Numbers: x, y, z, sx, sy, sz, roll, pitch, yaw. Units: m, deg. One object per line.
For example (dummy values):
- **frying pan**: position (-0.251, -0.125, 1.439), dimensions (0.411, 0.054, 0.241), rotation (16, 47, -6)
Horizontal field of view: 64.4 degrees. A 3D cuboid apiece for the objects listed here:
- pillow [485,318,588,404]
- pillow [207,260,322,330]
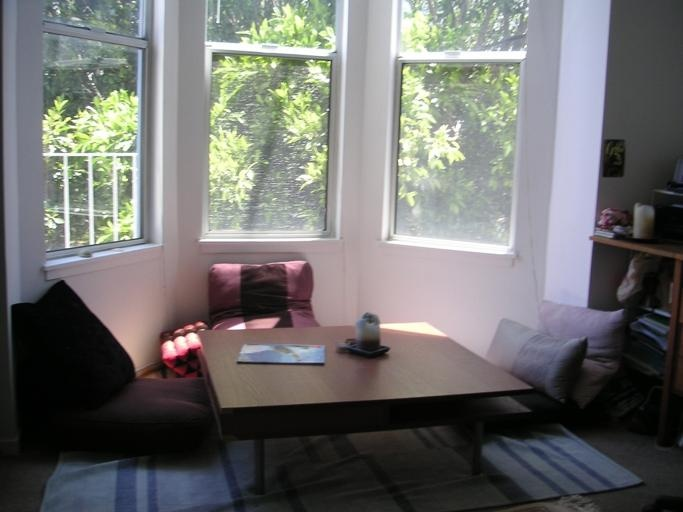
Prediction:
- **pillow**: position (1.158, 0.631, 3.145), dimensions (0.191, 0.306, 0.511), rotation (45, -17, -24)
- **pillow**: position (-0.595, 0.283, 3.987), dimensions (0.757, 0.434, 0.510), rotation (-1, 7, -8)
